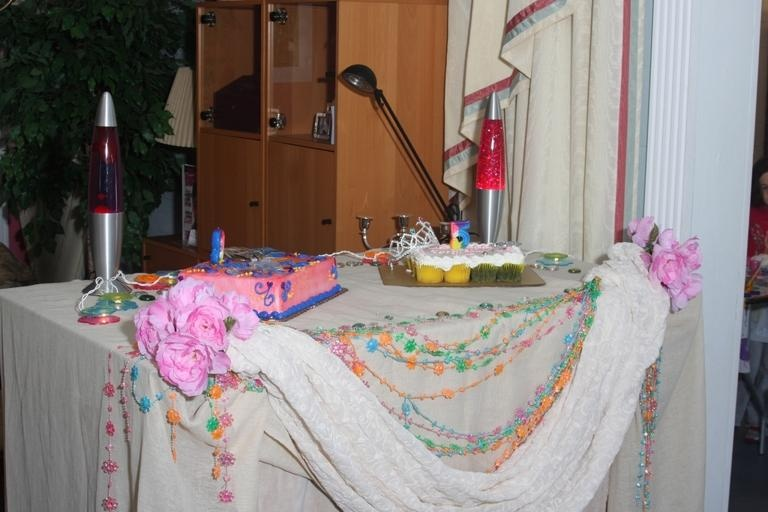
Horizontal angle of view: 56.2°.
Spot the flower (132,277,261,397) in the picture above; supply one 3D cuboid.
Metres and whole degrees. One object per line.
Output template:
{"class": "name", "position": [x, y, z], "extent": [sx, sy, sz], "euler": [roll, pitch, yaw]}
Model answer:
{"class": "flower", "position": [-0.432, 0.179, 1.641], "extent": [0.277, 0.257, 0.124], "euler": [-2, 2, -12]}
